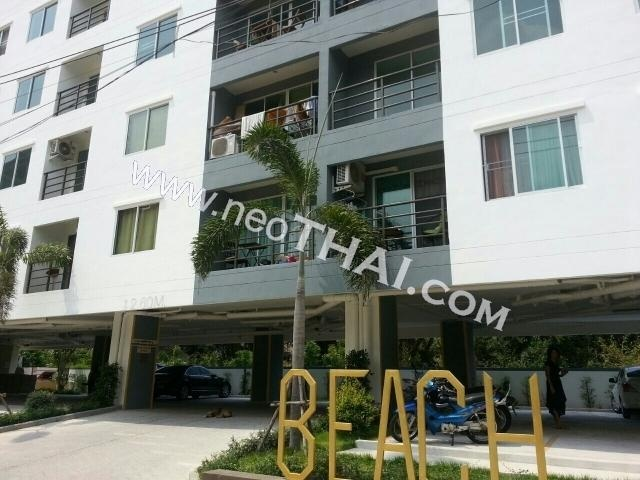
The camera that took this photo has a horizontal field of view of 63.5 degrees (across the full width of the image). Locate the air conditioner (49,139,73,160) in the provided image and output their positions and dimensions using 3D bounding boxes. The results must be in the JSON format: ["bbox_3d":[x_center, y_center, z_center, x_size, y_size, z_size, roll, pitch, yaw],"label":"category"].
[{"bbox_3d":[-10.672,-3.750,21.393,0.895,0.923,0.592,8,-16,-31],"label":"air conditioner"}]

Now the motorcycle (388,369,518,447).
[{"bbox_3d":[3.171,4.029,12.203,3.664,1.793,1.402,-2,-30,14],"label":"motorcycle"}]

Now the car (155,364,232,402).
[{"bbox_3d":[-6.081,6.827,24.796,1.790,1.000,3.829,-10,-15,34],"label":"car"}]

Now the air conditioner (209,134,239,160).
[{"bbox_3d":[-3.117,-3.040,16.943,1.009,0.599,0.522,-8,-17,27],"label":"air conditioner"}]

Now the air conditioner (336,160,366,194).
[{"bbox_3d":[0.868,-1.896,15.391,0.613,1.016,1.300,-6,-14,21],"label":"air conditioner"}]

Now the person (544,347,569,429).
[{"bbox_3d":[6.245,3.892,13.668,0.554,2.060,1.139,-6,-15,21],"label":"person"}]

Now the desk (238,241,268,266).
[{"bbox_3d":[-2.107,0.445,16.642,0.965,0.982,1.485,2,-13,-9],"label":"desk"}]
